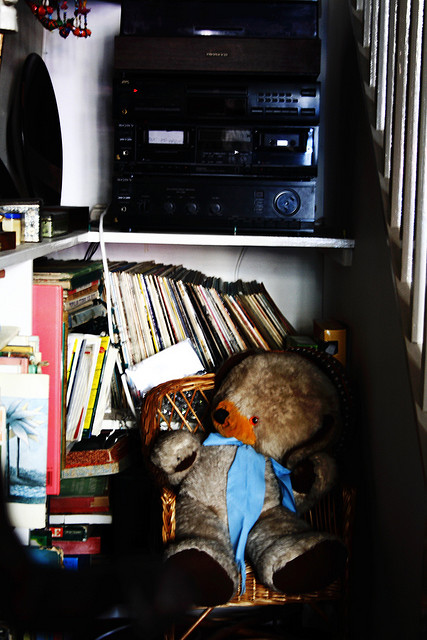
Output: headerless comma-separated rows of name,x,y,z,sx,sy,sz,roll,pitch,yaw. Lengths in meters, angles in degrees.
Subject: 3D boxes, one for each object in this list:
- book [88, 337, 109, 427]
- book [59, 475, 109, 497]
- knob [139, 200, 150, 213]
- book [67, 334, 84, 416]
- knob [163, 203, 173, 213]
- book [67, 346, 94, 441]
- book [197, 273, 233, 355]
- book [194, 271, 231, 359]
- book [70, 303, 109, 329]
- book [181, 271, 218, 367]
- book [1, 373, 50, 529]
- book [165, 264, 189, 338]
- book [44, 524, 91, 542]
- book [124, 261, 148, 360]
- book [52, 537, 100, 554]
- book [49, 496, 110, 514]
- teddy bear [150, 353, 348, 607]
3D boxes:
book,-0.270,0.136,1.248,0.018,0.197,0.157,13,14,-8
book,-0.323,0.412,1.341,0.120,0.036,0.036,-3,14,-3
knob,-0.165,-0.270,1.288,0.023,0.026,0.007,-13,2,11
book,-0.305,0.117,1.192,0.050,0.159,0.010,-10,15,-33
knob,-0.108,-0.267,1.276,0.019,0.020,0.005,10,6,2
book,-0.301,0.165,1.217,0.072,0.219,0.030,-11,15,-35
book,0.002,-0.009,1.447,0.036,0.236,0.025,-28,-6,7
book,-0.006,-0.004,1.443,0.029,0.238,0.029,-20,1,27
book,-0.308,-0.018,1.320,0.066,0.017,0.052,-23,7,-21
book,-0.040,0.007,1.416,0.031,0.252,0.032,-19,-6,30
book,-0.284,0.200,0.813,0.073,0.233,0.051,-1,13,4
book,-0.098,-0.042,1.419,0.029,0.194,0.020,-11,17,38
book,-0.358,0.525,1.337,0.095,0.026,0.095,1,5,-2
book,-0.203,-0.029,1.379,0.030,0.273,0.018,-5,11,-3
book,-0.338,0.574,1.367,0.071,0.021,0.072,1,-6,-6
book,-0.331,0.453,1.334,0.070,0.019,0.076,0,-6,-5
teddy bear,0.078,0.311,1.075,0.400,0.395,0.313,-4,14,-9
